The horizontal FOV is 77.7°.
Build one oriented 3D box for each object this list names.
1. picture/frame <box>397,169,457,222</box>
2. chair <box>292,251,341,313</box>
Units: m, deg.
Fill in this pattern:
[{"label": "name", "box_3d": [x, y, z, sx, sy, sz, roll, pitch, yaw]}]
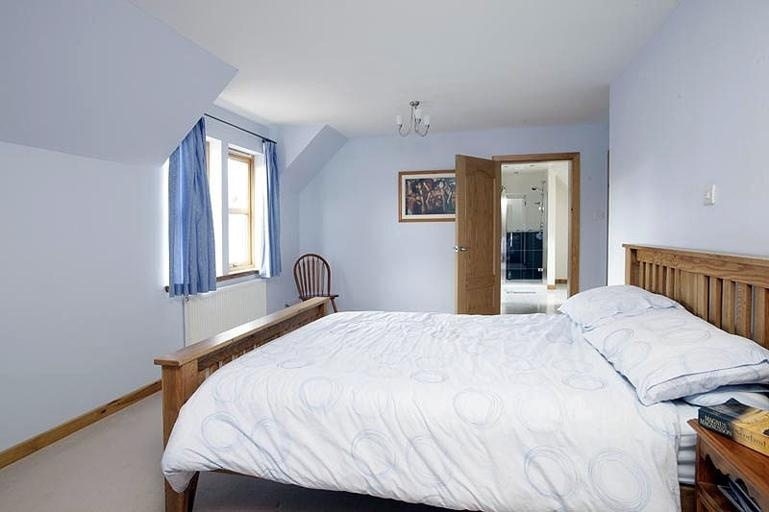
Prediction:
[{"label": "picture/frame", "box_3d": [0.597, -0.814, 6.241, 0.710, 0.557, 0.030, 0, 3, 11]}, {"label": "chair", "box_3d": [-0.959, 0.423, 6.672, 0.652, 0.946, 0.583, -9, 10, -39]}]
